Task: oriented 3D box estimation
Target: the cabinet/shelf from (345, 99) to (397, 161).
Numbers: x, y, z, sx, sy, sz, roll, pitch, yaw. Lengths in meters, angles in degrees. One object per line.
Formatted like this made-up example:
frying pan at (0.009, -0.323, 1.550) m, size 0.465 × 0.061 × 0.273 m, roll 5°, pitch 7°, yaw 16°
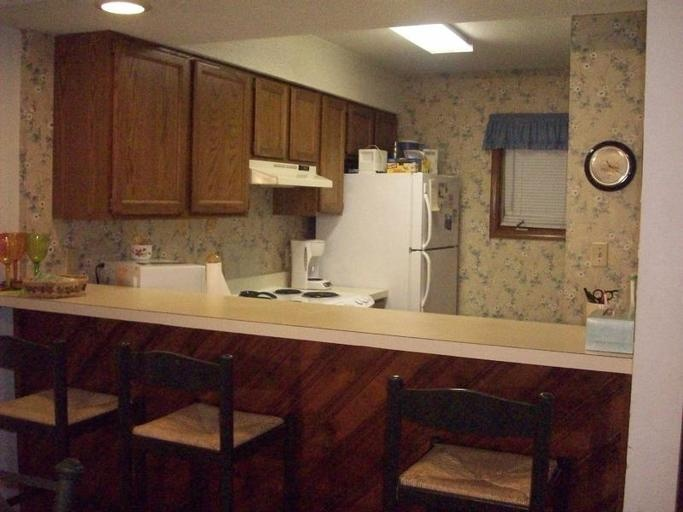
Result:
cabinet/shelf at (0.183, -0.930, 5.088) m, size 0.223 × 0.563 × 0.660 m, roll 3°, pitch 1°, yaw 41°

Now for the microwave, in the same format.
microwave at (-1.015, 0.114, 3.261) m, size 0.572 × 0.158 × 0.246 m, roll 1°, pitch 7°, yaw -14°

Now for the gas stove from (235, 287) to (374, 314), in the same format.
gas stove at (-0.189, 0.276, 4.186) m, size 0.486 × 0.125 × 0.362 m, roll 2°, pitch 3°, yaw 28°

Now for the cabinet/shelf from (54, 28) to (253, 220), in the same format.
cabinet/shelf at (-1.009, -0.687, 3.478) m, size 0.415 × 0.915 × 1.083 m, roll 6°, pitch 8°, yaw 30°

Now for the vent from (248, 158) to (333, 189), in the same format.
vent at (-0.314, -0.547, 4.071) m, size 0.205 × 0.158 × 0.756 m, roll 5°, pitch 7°, yaw 25°

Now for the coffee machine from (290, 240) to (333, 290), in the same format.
coffee machine at (-0.226, 0.072, 4.599) m, size 0.287 × 0.363 × 0.239 m, roll -1°, pitch -1°, yaw 41°

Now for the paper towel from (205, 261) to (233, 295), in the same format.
paper towel at (-0.727, 0.139, 3.599) m, size 0.134 × 0.183 × 0.222 m, roll 1°, pitch 7°, yaw -12°

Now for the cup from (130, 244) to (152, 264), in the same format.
cup at (-1.089, -0.011, 3.352) m, size 0.105 × 0.078 × 0.105 m, roll 2°, pitch 3°, yaw 0°

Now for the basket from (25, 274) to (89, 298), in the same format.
basket at (-1.284, 0.136, 2.795) m, size 0.146 × 0.052 × 0.159 m, roll 3°, pitch 5°, yaw 27°
